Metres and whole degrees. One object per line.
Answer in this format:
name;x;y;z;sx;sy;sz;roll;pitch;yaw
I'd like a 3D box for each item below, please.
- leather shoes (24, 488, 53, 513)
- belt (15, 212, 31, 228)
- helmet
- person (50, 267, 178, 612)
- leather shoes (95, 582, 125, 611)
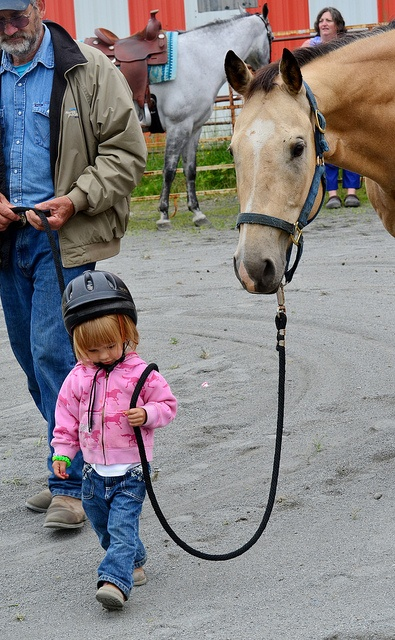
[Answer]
leather shoes;-0.622;0.705;3.319;0.053;0.057;0.132;31;2;10
belt;-0.661;-0.376;3.176;0.047;0.044;0.011;11;7;44
helmet;-0.321;-0.068;2.719;0.184;0.168;0.229;-11;8;11
person;-0.316;0.365;2.624;0.312;0.988;0.473;-2;14;0
leather shoes;-0.262;0.822;2.521;0.053;0.050;0.109;18;-24;14
